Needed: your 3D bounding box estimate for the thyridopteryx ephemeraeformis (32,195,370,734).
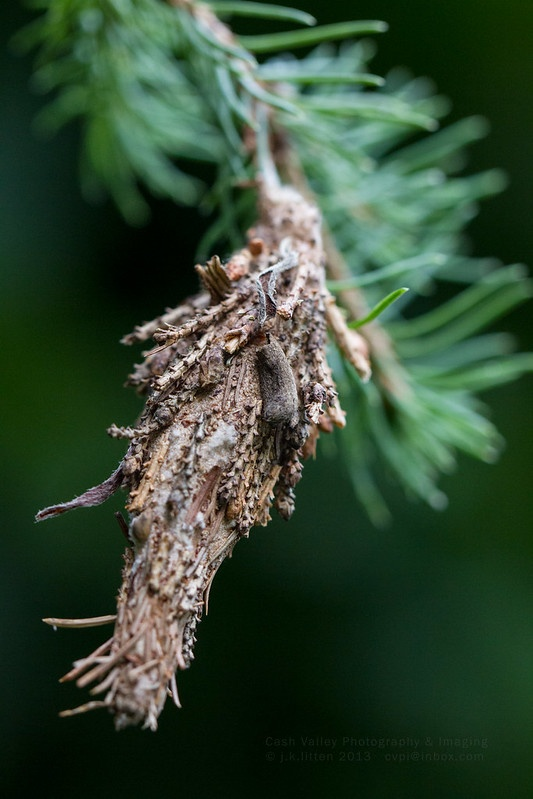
[{"bbox_3d":[-0.046,0.021,0.669,0.260,0.406,0.152,-3,-3,-14],"label":"thyridopteryx ephemeraeformis"}]
